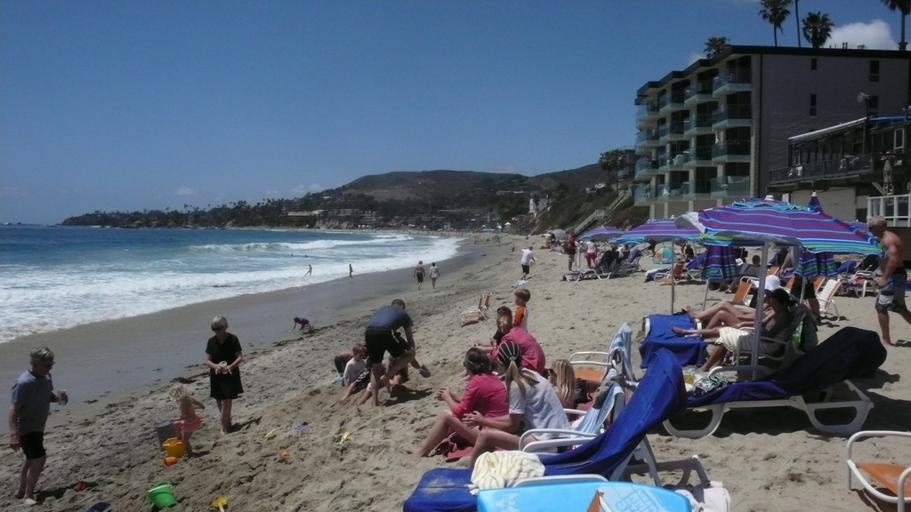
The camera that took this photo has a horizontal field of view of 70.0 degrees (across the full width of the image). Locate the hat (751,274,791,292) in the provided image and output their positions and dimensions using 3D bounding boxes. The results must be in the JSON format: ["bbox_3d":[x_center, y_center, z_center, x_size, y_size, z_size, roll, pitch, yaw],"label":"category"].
[{"bbox_3d":[8.086,0.693,16.920,0.836,0.310,0.961,1,-2,-3],"label":"hat"}]

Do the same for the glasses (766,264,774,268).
[{"bbox_3d":[9.233,0.308,19.165,0.037,0.114,0.137,8,8,-39],"label":"glasses"}]

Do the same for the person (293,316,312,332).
[{"bbox_3d":[-5.461,2.405,23.345,0.621,0.431,0.977,-1,2,-13],"label":"person"}]

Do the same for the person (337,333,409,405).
[{"bbox_3d":[-1.910,2.414,15.062,1.262,0.966,1.981,12,33,26],"label":"person"}]

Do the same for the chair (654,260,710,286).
[{"bbox_3d":[7.874,0.332,22.892,1.354,0.929,2.366,-8,10,15],"label":"chair"}]

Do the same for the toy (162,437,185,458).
[{"bbox_3d":[-6.267,4.284,14.663,0.538,0.426,0.377,-3,6,-21],"label":"toy"}]

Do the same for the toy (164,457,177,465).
[{"bbox_3d":[-6.312,4.551,14.498,0.231,0.119,0.219,-4,-13,27],"label":"toy"}]

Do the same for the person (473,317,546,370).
[{"bbox_3d":[1.171,1.926,14.401,1.704,1.397,0.824,7,33,20],"label":"person"}]

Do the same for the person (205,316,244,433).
[{"bbox_3d":[-5.376,2.738,15.239,0.707,2.777,1.312,-1,4,-19],"label":"person"}]

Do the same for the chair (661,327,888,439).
[{"bbox_3d":[6.591,2.607,13.727,4.132,1.559,2.270,-2,-2,8],"label":"chair"}]

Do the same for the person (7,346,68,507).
[{"bbox_3d":[-8.965,3.664,13.970,0.918,3.441,0.974,-2,4,-32],"label":"person"}]
